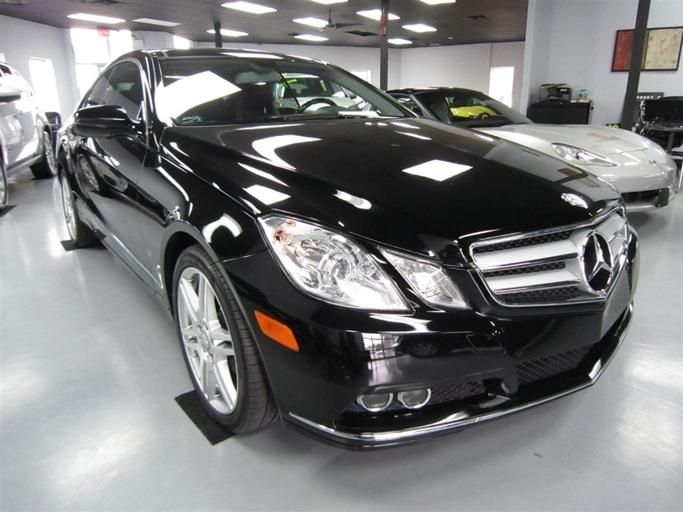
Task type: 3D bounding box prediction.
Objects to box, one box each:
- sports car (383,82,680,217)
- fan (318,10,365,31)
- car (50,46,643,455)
[{"bbox_3d":[1.181,-0.906,3.563,2.551,0.599,1.182,16,23,38],"label":"sports car"},{"bbox_3d":[-0.003,-6.079,11.220,1.081,0.237,2.421,1,20,-2],"label":"fan"},{"bbox_3d":[-0.447,-0.179,2.039,1.366,0.797,2.747,-11,21,-36],"label":"car"}]
